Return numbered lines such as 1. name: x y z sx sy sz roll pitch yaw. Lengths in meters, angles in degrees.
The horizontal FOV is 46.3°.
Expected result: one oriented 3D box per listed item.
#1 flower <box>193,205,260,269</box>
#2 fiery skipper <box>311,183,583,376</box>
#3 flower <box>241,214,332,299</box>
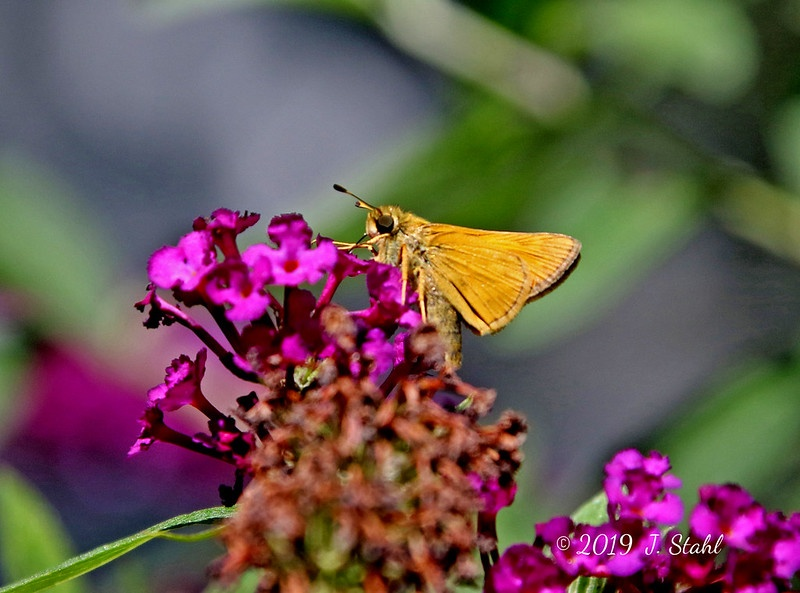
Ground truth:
1. flower: -0.442 -0.131 2.319 0.103 0.102 0.190 14 109 45
2. fiery skipper: 0.228 -0.084 3.224 0.649 0.532 0.889 -5 95 -16
3. flower: -0.266 -0.100 2.313 0.245 0.078 0.275 -1 67 -5
